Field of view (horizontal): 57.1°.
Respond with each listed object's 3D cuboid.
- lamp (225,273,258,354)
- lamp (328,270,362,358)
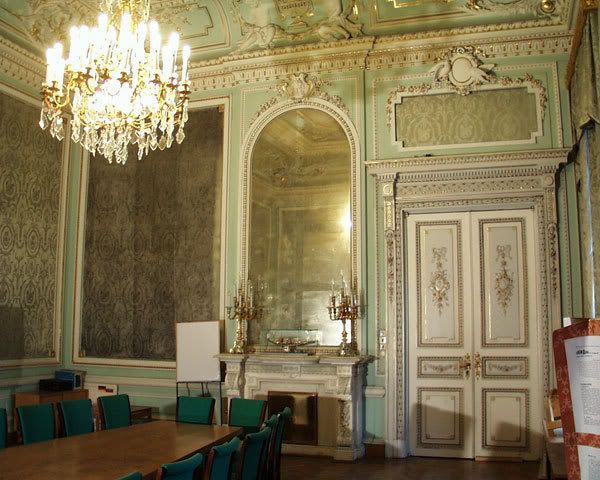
[{"bbox_3d":[-0.727,0.993,7.228,0.242,0.951,0.453,-1,-8,15],"label":"lamp"},{"bbox_3d":[0.564,0.928,6.931,0.393,0.999,0.741,0,-8,4],"label":"lamp"}]
